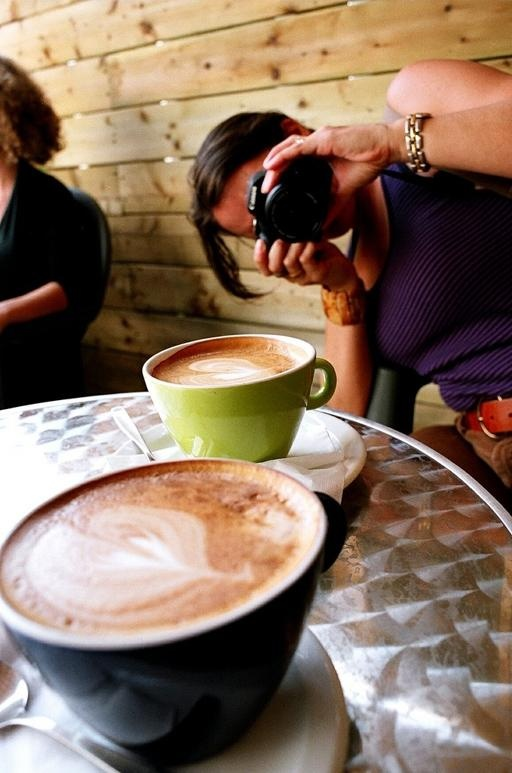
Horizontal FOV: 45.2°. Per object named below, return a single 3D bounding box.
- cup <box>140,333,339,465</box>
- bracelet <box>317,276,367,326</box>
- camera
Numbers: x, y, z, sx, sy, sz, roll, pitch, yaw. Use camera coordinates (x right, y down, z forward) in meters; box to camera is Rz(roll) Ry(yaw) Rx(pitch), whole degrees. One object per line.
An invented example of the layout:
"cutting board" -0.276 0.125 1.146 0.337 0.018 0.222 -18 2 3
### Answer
"cup" -0.015 -0.009 0.510 0.140 0.078 0.122 -1 19 -1
"bracelet" 0.150 -0.150 1.106 0.079 0.075 0.078 -11 19 5
"camera" 0.052 -0.253 0.863 0.121 0.127 0.045 -2 38 -23
